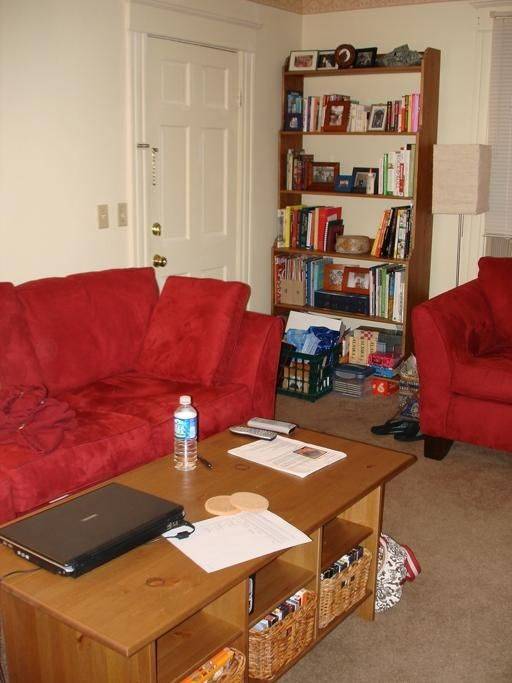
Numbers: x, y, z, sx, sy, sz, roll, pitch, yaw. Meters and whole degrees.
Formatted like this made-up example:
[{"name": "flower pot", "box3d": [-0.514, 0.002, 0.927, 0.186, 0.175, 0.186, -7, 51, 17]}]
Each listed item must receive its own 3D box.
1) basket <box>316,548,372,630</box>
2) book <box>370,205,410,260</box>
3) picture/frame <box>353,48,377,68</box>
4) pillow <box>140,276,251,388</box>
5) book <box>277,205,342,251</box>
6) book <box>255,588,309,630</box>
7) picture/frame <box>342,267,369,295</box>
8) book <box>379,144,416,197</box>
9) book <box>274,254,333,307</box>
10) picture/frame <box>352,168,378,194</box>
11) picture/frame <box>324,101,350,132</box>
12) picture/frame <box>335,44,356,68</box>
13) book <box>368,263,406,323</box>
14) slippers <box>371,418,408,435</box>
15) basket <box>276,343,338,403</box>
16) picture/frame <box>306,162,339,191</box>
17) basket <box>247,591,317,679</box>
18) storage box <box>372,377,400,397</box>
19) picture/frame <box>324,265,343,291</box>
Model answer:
[{"name": "basket", "box3d": [0.244, 0.664, 1.497, 0.129, 0.078, 0.180, -8, 4, 39]}, {"name": "book", "box3d": [0.939, -0.741, 3.768, 0.261, 0.365, 0.125, 7, 8, 27]}, {"name": "picture/frame", "box3d": [0.754, -1.950, 3.803, 0.175, 0.174, 0.018, 5, -12, 27]}, {"name": "pillow", "box3d": [-0.243, -0.041, 2.604, 0.502, 0.500, 0.156, 12, -9, 32]}, {"name": "book", "box3d": [0.417, -0.857, 4.160, 0.329, 0.417, 0.572, 13, 22, 31]}, {"name": "book", "box3d": [0.063, 0.616, 1.277, 0.059, 0.025, 0.093, -11, -5, 39]}, {"name": "picture/frame", "box3d": [0.721, -0.433, 3.966, 0.208, 0.179, 0.016, 4, 6, 41]}, {"name": "book", "box3d": [0.941, -1.126, 3.837, 0.303, 0.411, 0.427, 4, 15, 16]}, {"name": "book", "box3d": [0.405, -0.549, 4.360, 0.366, 0.485, 0.498, 5, 12, 23]}, {"name": "picture/frame", "box3d": [0.775, -1.125, 3.885, 0.013, 0.159, 0.174, 6, 11, -43]}, {"name": "picture/frame", "box3d": [0.551, -1.570, 3.943, 0.226, 0.217, 0.204, 2, 13, 0]}, {"name": "picture/frame", "box3d": [0.618, -1.972, 3.811, 0.158, 0.154, 0.036, 20, 18, 41]}, {"name": "book", "box3d": [0.909, -0.333, 3.840, 0.244, 0.394, 0.154, 6, 7, 15]}, {"name": "slippers", "box3d": [0.762, 0.486, 3.165, 0.243, 0.092, 0.080, -4, 15, -18]}, {"name": "basket", "box3d": [0.349, 0.177, 3.765, 0.385, 0.246, 0.389, 8, 10, 31]}, {"name": "picture/frame", "box3d": [0.500, -1.224, 4.084, 0.228, 0.224, 0.024, 7, 5, 18]}, {"name": "basket", "box3d": [0.066, 0.668, 1.272, 0.118, 0.092, 0.180, 0, 4, 30]}, {"name": "storage box", "box3d": [0.893, 0.313, 3.811, 0.147, 0.140, 0.095, 10, 1, 40]}, {"name": "picture/frame", "box3d": [0.581, -0.473, 4.091, 0.191, 0.199, 0.014, 5, 9, 27]}]
